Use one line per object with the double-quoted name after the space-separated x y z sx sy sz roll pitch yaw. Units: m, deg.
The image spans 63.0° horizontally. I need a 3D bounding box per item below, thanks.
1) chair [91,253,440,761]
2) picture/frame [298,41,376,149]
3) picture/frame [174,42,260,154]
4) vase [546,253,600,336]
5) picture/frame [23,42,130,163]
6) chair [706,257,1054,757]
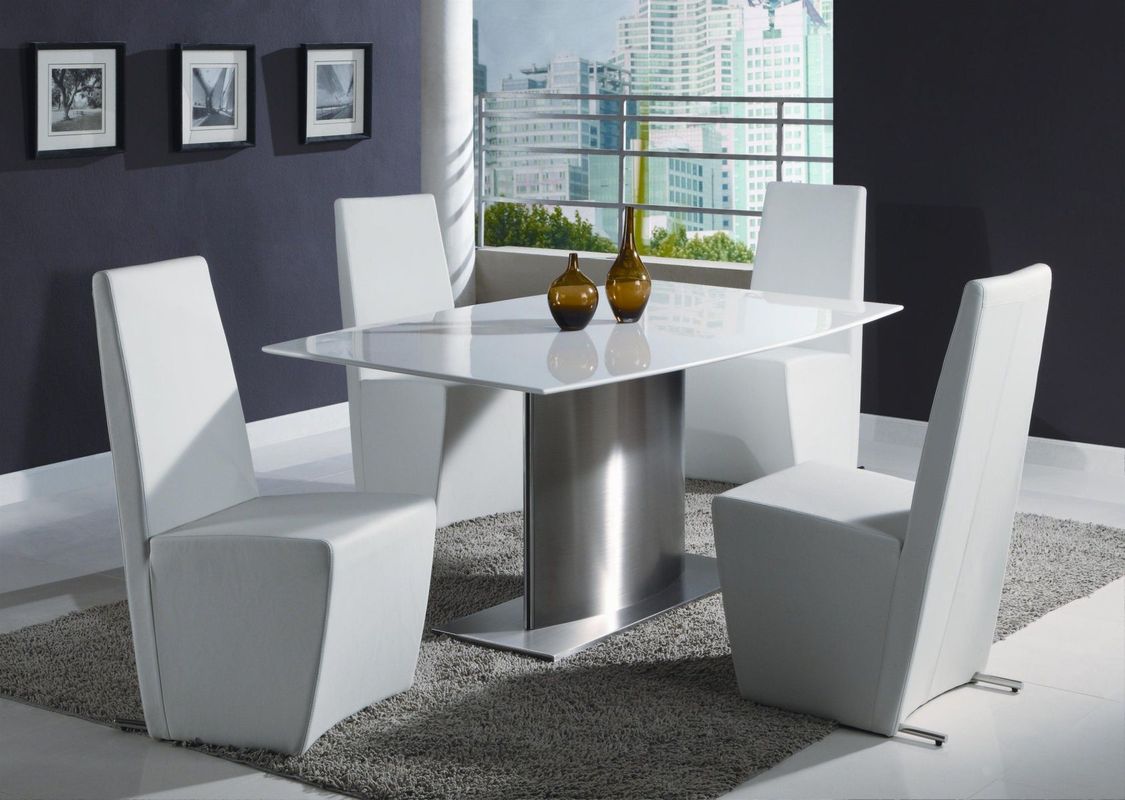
-0.709 0.171 3.037 1.011 1.942 1.060 1 5 17 "chair"
-1.260 -1.688 5.044 0.069 0.684 0.561 8 10 40 "picture/frame"
-1.737 -1.508 4.556 0.062 0.610 0.531 7 9 37 "picture/frame"
0.049 -0.327 2.920 0.211 0.325 0.206 0 -1 7 "vase"
-2.171 -1.326 4.058 0.045 0.565 0.526 8 10 35 "picture/frame"
0.861 0.248 2.442 0.636 1.096 0.587 5 6 43 "chair"
